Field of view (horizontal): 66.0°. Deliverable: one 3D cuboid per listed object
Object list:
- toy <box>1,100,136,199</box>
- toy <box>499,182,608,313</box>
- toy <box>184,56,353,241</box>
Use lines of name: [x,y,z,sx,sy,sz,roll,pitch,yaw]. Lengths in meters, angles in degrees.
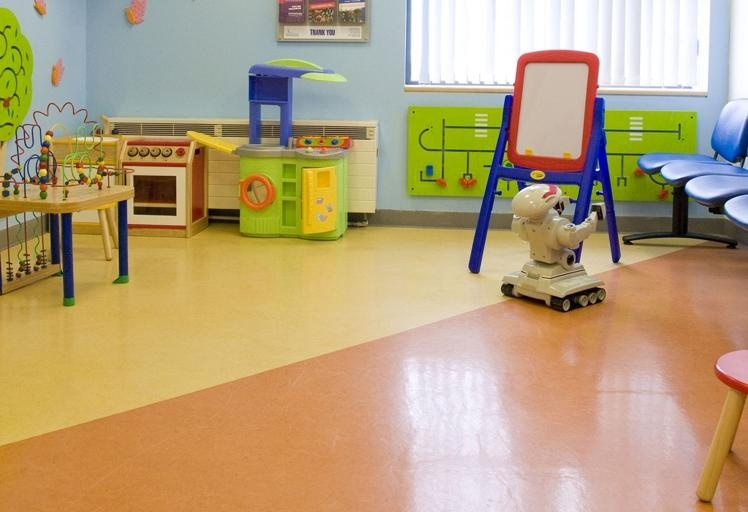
toy: [-2.426,-0.834,4.363,0.969,0.593,0.974,13,19,38]
toy: [0.997,-0.088,3.428,0.655,0.816,0.638,-7,9,-42]
toy: [-0.729,-0.858,4.699,0.971,1.401,0.619,6,17,22]
